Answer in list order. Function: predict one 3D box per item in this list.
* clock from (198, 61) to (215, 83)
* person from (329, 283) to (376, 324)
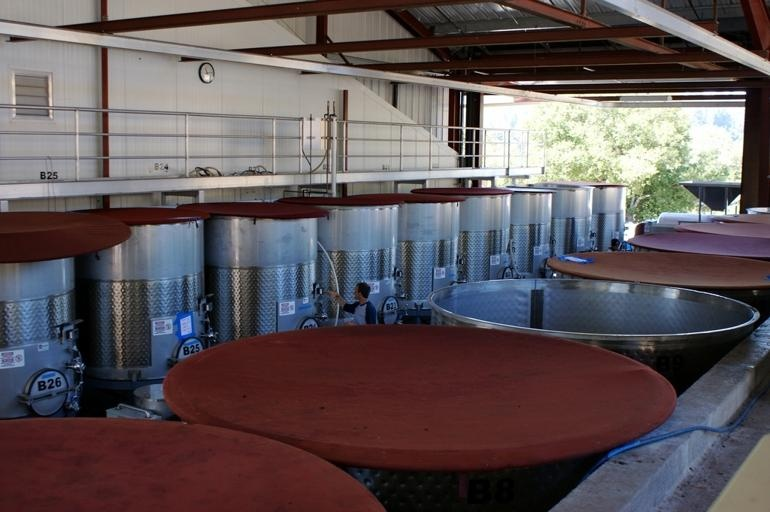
[{"bbox_3d":[-3.930,-4.063,12.988,0.033,0.466,0.426,4,10,38],"label":"clock"},{"bbox_3d":[-0.488,0.704,8.833,0.425,0.598,0.857,-6,8,-20],"label":"person"}]
